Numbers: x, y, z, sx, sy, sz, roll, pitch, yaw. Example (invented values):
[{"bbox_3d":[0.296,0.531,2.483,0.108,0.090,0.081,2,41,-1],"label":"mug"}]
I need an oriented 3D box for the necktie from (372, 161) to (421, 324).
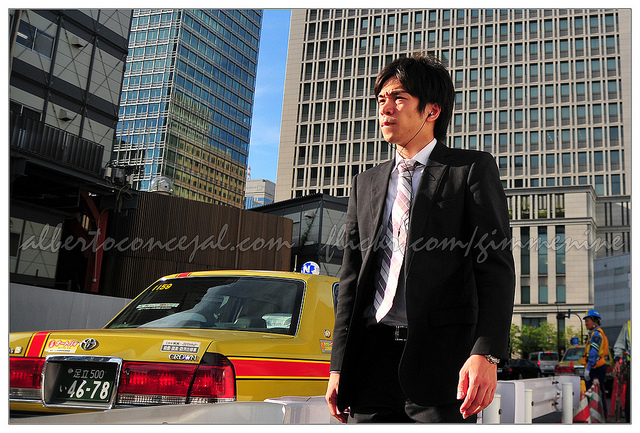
[{"bbox_3d":[0.425,0.138,3.207,0.204,0.811,0.068,5,-27,26],"label":"necktie"}]

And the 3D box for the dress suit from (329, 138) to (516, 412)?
[{"bbox_3d":[0.512,0.328,3.281,1.114,1.374,0.584,-8,-19,39],"label":"dress suit"}]

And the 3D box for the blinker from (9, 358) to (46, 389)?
[{"bbox_3d":[-2.013,1.070,3.988,0.288,0.195,0.043,-3,-14,25],"label":"blinker"}]

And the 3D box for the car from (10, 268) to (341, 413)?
[{"bbox_3d":[-0.739,0.920,4.384,1.215,0.613,2.166,-7,-17,33],"label":"car"}]

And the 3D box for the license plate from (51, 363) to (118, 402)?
[{"bbox_3d":[-1.559,1.088,3.862,0.463,0.241,0.032,-2,-13,20],"label":"license plate"}]

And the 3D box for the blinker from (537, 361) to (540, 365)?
[{"bbox_3d":[13.834,9.207,36.788,0.115,0.226,0.224,-1,-12,19],"label":"blinker"}]

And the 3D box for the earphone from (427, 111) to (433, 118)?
[{"bbox_3d":[0.639,-0.586,3.359,0.008,0.033,0.025,44,20,31],"label":"earphone"}]
